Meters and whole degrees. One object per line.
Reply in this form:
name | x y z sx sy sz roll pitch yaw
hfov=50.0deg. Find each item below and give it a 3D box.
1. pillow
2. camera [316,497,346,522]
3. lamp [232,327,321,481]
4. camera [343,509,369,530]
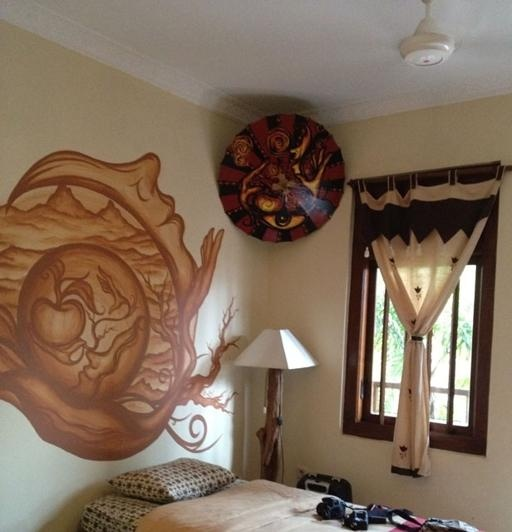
pillow | -0.453 1.107 2.985 0.495 0.156 0.582 -2 -7 34
camera | 0.359 1.144 2.594 0.101 0.082 0.079 9 -12 -19
lamp | 0.097 0.768 3.675 0.432 1.317 0.408 -1 -7 29
camera | 0.464 1.155 2.518 0.061 0.063 0.089 1 2 9
